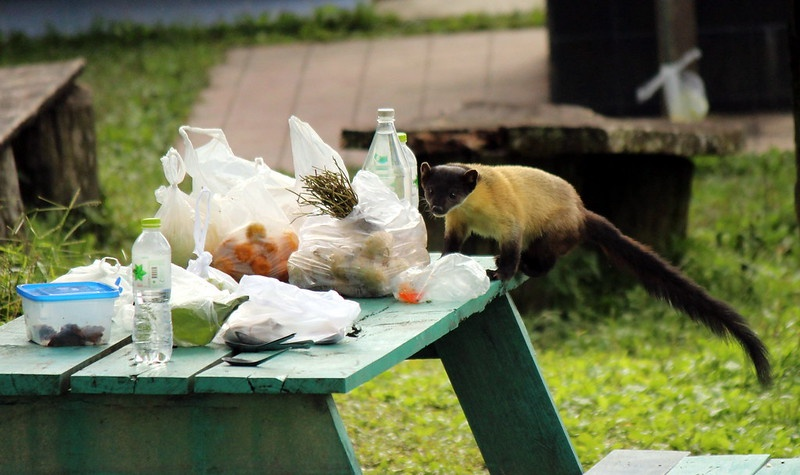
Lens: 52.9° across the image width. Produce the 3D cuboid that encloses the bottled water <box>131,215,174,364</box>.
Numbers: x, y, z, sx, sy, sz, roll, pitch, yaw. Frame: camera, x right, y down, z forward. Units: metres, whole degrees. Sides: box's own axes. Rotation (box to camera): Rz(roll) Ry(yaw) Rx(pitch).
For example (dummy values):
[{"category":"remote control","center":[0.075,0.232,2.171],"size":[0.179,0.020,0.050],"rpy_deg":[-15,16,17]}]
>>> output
[{"category":"bottled water","center":[-1.183,0.263,3.927],"size":[0.226,0.732,0.224],"rpy_deg":[-2,0,33]}]

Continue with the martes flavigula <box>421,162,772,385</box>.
[{"category":"martes flavigula","center":[1.159,0.055,4.771],"size":[0.674,0.721,2.451],"rpy_deg":[-33,38,-20]}]

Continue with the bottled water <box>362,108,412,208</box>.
[{"category":"bottled water","center":[-0.098,-0.488,4.966],"size":[0.299,0.680,0.209],"rpy_deg":[-4,9,-22]}]

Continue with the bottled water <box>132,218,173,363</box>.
[{"category":"bottled water","center":[-1.187,0.259,3.921],"size":[0.202,0.701,0.201],"rpy_deg":[-3,4,-37]}]
